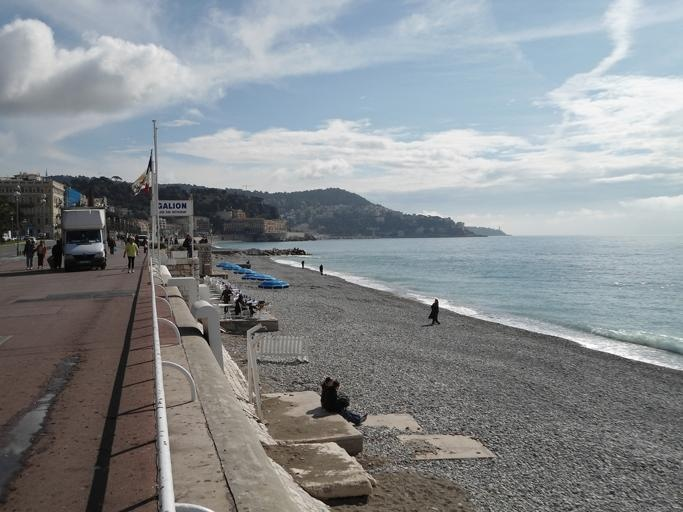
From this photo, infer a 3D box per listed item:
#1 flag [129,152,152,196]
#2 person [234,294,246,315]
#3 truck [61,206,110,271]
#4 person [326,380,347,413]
[{"bbox_3d":[-14.448,-5.845,32.140,1.251,2.583,3.635,-1,3,-25],"label":"flag"},{"bbox_3d":[-4.935,2.431,21.404,0.431,0.737,0.594,10,-3,-16],"label":"person"},{"bbox_3d":[-13.704,-0.958,23.627,2.040,3.392,1.933,-2,4,-41],"label":"truck"},{"bbox_3d":[-0.049,3.549,10.937,0.383,0.859,0.485,3,4,37],"label":"person"}]
